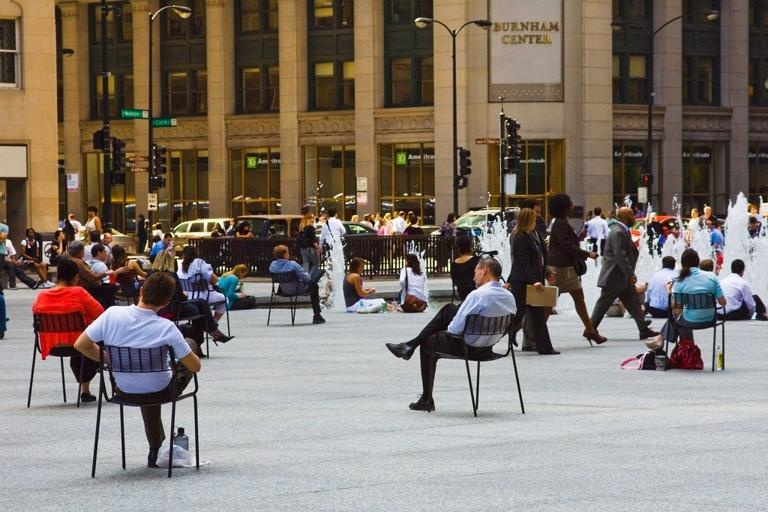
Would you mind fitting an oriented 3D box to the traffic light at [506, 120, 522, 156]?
[{"bbox_3d":[4.630,-4.171,58.584,0.503,1.126,1.422,-2,-1,4],"label":"traffic light"}]

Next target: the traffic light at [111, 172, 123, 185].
[{"bbox_3d":[-10.663,-3.063,65.577,0.610,0.418,0.667,2,-6,0],"label":"traffic light"}]

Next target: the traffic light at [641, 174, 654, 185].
[{"bbox_3d":[11.676,-3.327,72.444,0.498,0.442,0.458,-1,-1,2],"label":"traffic light"}]

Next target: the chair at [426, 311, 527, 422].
[{"bbox_3d":[1.859,2.165,34.944,1.979,2.912,2.150,-1,3,-43],"label":"chair"}]

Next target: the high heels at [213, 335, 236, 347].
[{"bbox_3d":[-3.976,2.099,40.524,0.546,0.221,0.169,-16,7,2],"label":"high heels"}]

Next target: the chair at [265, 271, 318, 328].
[{"bbox_3d":[-2.592,1.250,46.194,0.877,1.504,2.241,0,-2,2],"label":"chair"}]

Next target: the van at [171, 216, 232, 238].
[{"bbox_3d":[-8.257,-1.220,73.095,2.979,1.098,1.346,2,2,21],"label":"van"}]

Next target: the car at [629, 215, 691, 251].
[{"bbox_3d":[9.919,-0.601,60.517,3.084,1.345,1.905,-5,6,-28],"label":"car"}]
